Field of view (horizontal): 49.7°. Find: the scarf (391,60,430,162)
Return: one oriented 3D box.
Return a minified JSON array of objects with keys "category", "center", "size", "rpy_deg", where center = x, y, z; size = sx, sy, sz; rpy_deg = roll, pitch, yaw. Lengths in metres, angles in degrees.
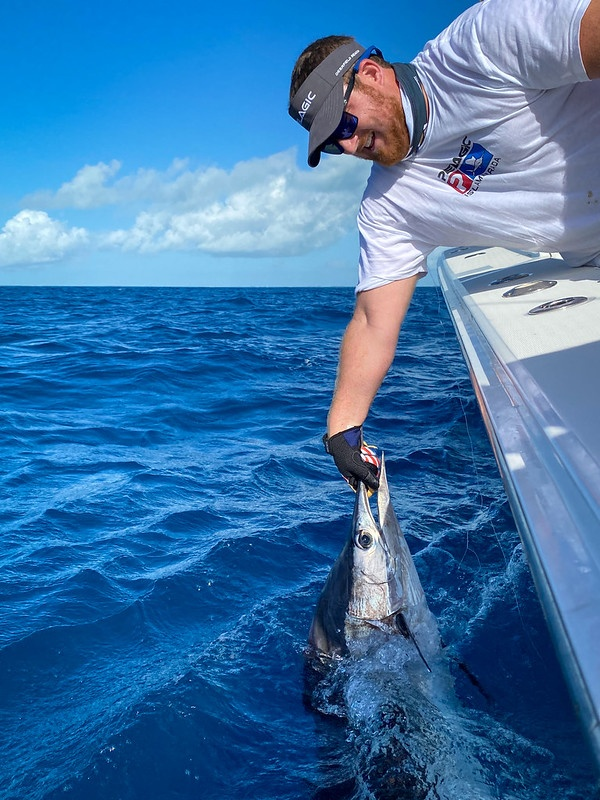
[{"category":"scarf","center":[0.382,-1.019,2.262],"size":[0.107,0.299,0.149],"rpy_deg":[-5,13,-2]}]

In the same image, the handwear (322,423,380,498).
[{"category":"handwear","center":[0.222,0.199,2.096],"size":[0.101,0.146,0.231],"rpy_deg":[6,13,-45]}]

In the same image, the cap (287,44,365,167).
[{"category":"cap","center":[0.085,-1.018,2.237],"size":[0.154,0.370,0.253],"rpy_deg":[-14,16,-36]}]
